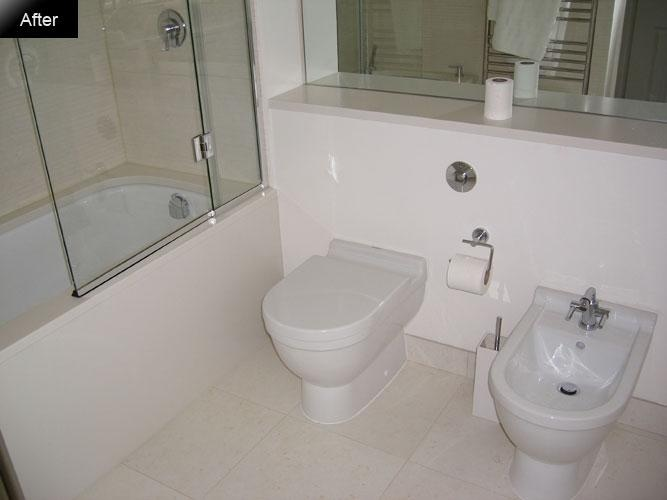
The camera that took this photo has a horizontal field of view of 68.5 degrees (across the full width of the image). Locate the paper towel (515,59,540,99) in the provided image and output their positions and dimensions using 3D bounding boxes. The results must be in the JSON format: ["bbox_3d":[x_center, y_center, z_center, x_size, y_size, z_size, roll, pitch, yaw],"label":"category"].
[{"bbox_3d":[0.758,-0.671,1.942,0.117,0.143,0.122,0,31,8],"label":"paper towel"}]

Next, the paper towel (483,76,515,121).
[{"bbox_3d":[0.622,-0.582,1.908,0.137,0.168,0.142,6,30,18],"label":"paper towel"}]

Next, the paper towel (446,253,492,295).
[{"bbox_3d":[0.544,0.087,1.960,0.168,0.157,0.137,5,42,30],"label":"paper towel"}]

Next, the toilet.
[{"bbox_3d":[0.077,0.355,2.190,0.538,0.618,0.788,13,30,28],"label":"toilet"}]
